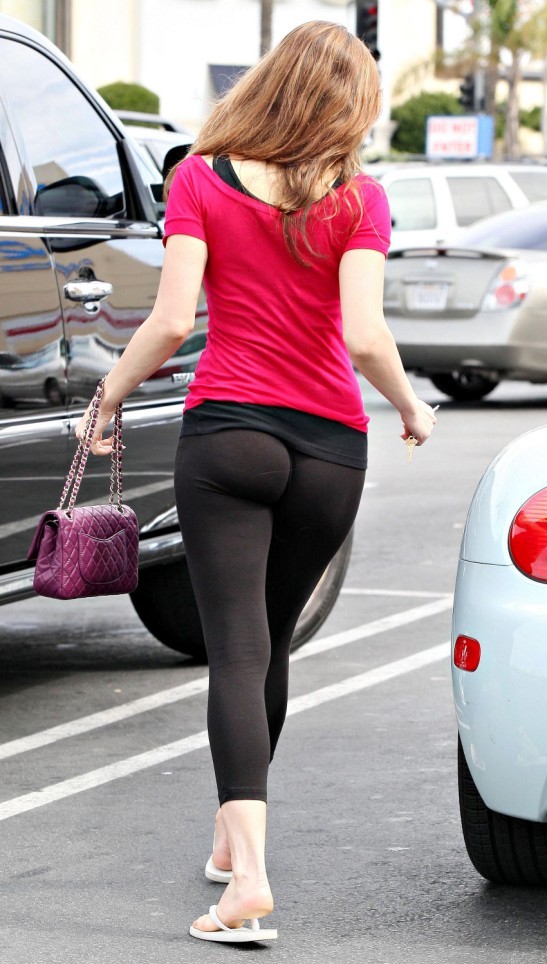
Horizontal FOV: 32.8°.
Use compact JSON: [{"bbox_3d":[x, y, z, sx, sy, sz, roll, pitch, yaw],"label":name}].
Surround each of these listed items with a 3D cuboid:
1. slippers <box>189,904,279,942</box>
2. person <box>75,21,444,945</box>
[{"bbox_3d":[-0.061,0.745,1.593,0.129,0.043,0.074,-1,-5,34],"label":"slippers"},{"bbox_3d":[-0.043,0.014,1.601,0.443,1.456,0.643,14,28,27],"label":"person"}]
